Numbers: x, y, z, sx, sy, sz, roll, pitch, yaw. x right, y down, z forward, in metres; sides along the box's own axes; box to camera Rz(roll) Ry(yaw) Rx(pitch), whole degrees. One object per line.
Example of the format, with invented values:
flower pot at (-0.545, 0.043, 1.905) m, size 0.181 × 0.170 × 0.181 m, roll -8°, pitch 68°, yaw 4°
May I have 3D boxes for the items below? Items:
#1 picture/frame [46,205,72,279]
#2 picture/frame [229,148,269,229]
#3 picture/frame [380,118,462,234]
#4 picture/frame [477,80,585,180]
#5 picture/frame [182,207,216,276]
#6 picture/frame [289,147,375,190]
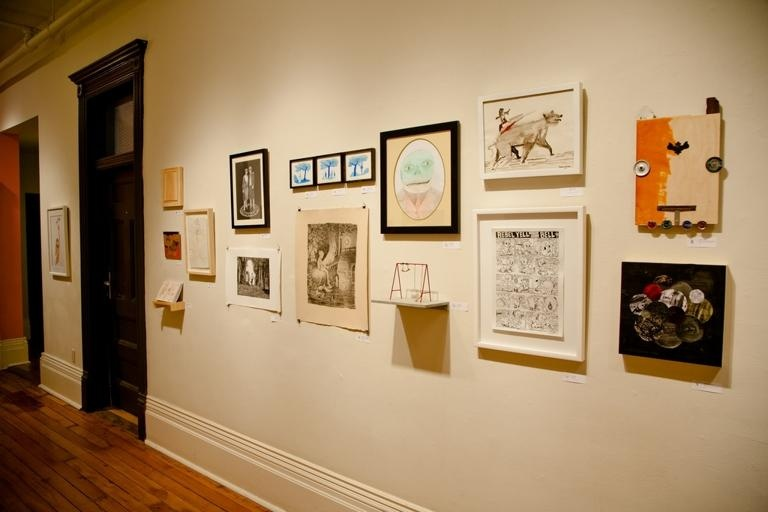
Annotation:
picture/frame at (-3.966, -0.188, 6.392) m, size 0.073 × 1.072 × 0.856 m, roll -1°, pitch 0°, yaw -40°
picture/frame at (-1.145, -0.583, 4.468) m, size 0.639 × 0.932 × 0.098 m, roll 2°, pitch 4°, yaw 42°
picture/frame at (0.281, -0.568, 3.673) m, size 0.770 × 1.043 × 0.069 m, roll -1°, pitch 0°, yaw 30°
picture/frame at (0.964, -0.802, 3.346) m, size 0.626 × 0.563 × 0.048 m, roll 1°, pitch 3°, yaw 31°
picture/frame at (-1.704, -0.143, 4.839) m, size 0.597 × 0.891 × 0.092 m, roll 0°, pitch 0°, yaw 38°
picture/frame at (-0.416, -0.672, 4.046) m, size 0.776 × 0.273 × 0.058 m, roll 3°, pitch 3°, yaw 31°
